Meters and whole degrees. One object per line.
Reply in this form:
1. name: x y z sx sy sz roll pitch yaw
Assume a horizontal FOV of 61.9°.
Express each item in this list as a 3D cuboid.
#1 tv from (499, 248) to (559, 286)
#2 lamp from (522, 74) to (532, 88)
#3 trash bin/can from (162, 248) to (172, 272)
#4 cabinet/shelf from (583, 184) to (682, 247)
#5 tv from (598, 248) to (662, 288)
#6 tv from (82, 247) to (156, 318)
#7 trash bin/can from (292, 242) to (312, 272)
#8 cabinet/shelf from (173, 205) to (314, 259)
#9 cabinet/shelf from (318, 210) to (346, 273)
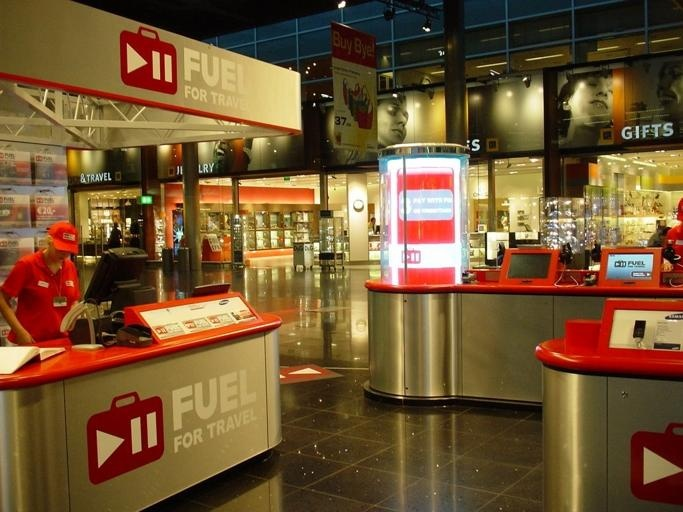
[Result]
1. tv: 1.871 0.109 5.623 0.577 0.435 0.326 0 -1 29
2. lamp: 4.947 -4.664 15.195 0.235 0.504 0.277 0 4 -13
3. trash bin/can: -6.404 0.122 20.986 0.318 0.803 0.456 -3 4 -25
4. cabinet/shelf: 7.905 -1.132 15.652 0.441 1.584 7.014 1 5 42
5. tv: 2.650 0.049 5.321 0.523 0.377 0.337 -2 20 11
6. tv: -1.714 0.183 4.472 0.334 0.514 0.494 -5 1 18
7. trash bin/can: -1.361 -0.002 20.020 0.712 1.005 0.677 -1 4 10
8. cabinet/shelf: -3.787 -1.167 25.552 3.420 2.469 8.653 1 5 30
9. cabinet/shelf: -0.377 -0.560 20.134 0.816 2.145 0.819 -1 1 -35
